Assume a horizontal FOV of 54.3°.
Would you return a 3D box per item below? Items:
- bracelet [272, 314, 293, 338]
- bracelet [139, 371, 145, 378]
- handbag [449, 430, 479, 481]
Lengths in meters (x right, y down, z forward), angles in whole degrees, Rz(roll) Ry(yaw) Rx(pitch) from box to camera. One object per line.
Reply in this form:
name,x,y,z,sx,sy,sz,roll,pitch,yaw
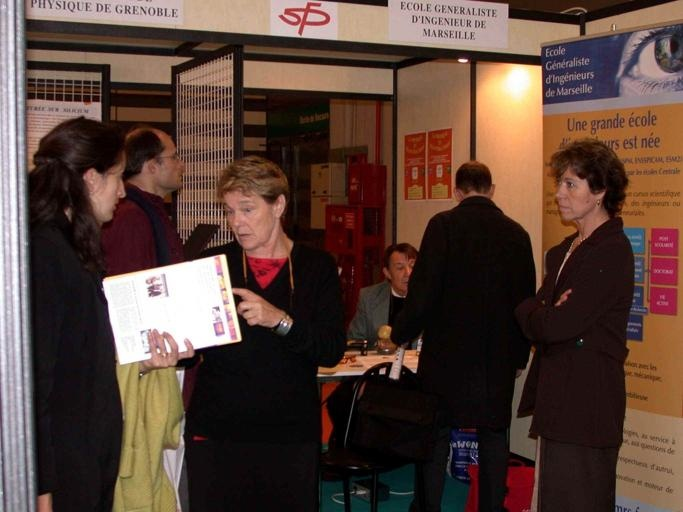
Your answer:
bracelet,-0.205,0.249,2.338,0.075,0.059,0.042,-44,36,-24
bracelet,-0.695,0.412,2.319,0.021,0.006,0.022,-23,-27,-33
handbag,0.868,1.521,4.789,0.218,0.421,0.281,2,-38,11
